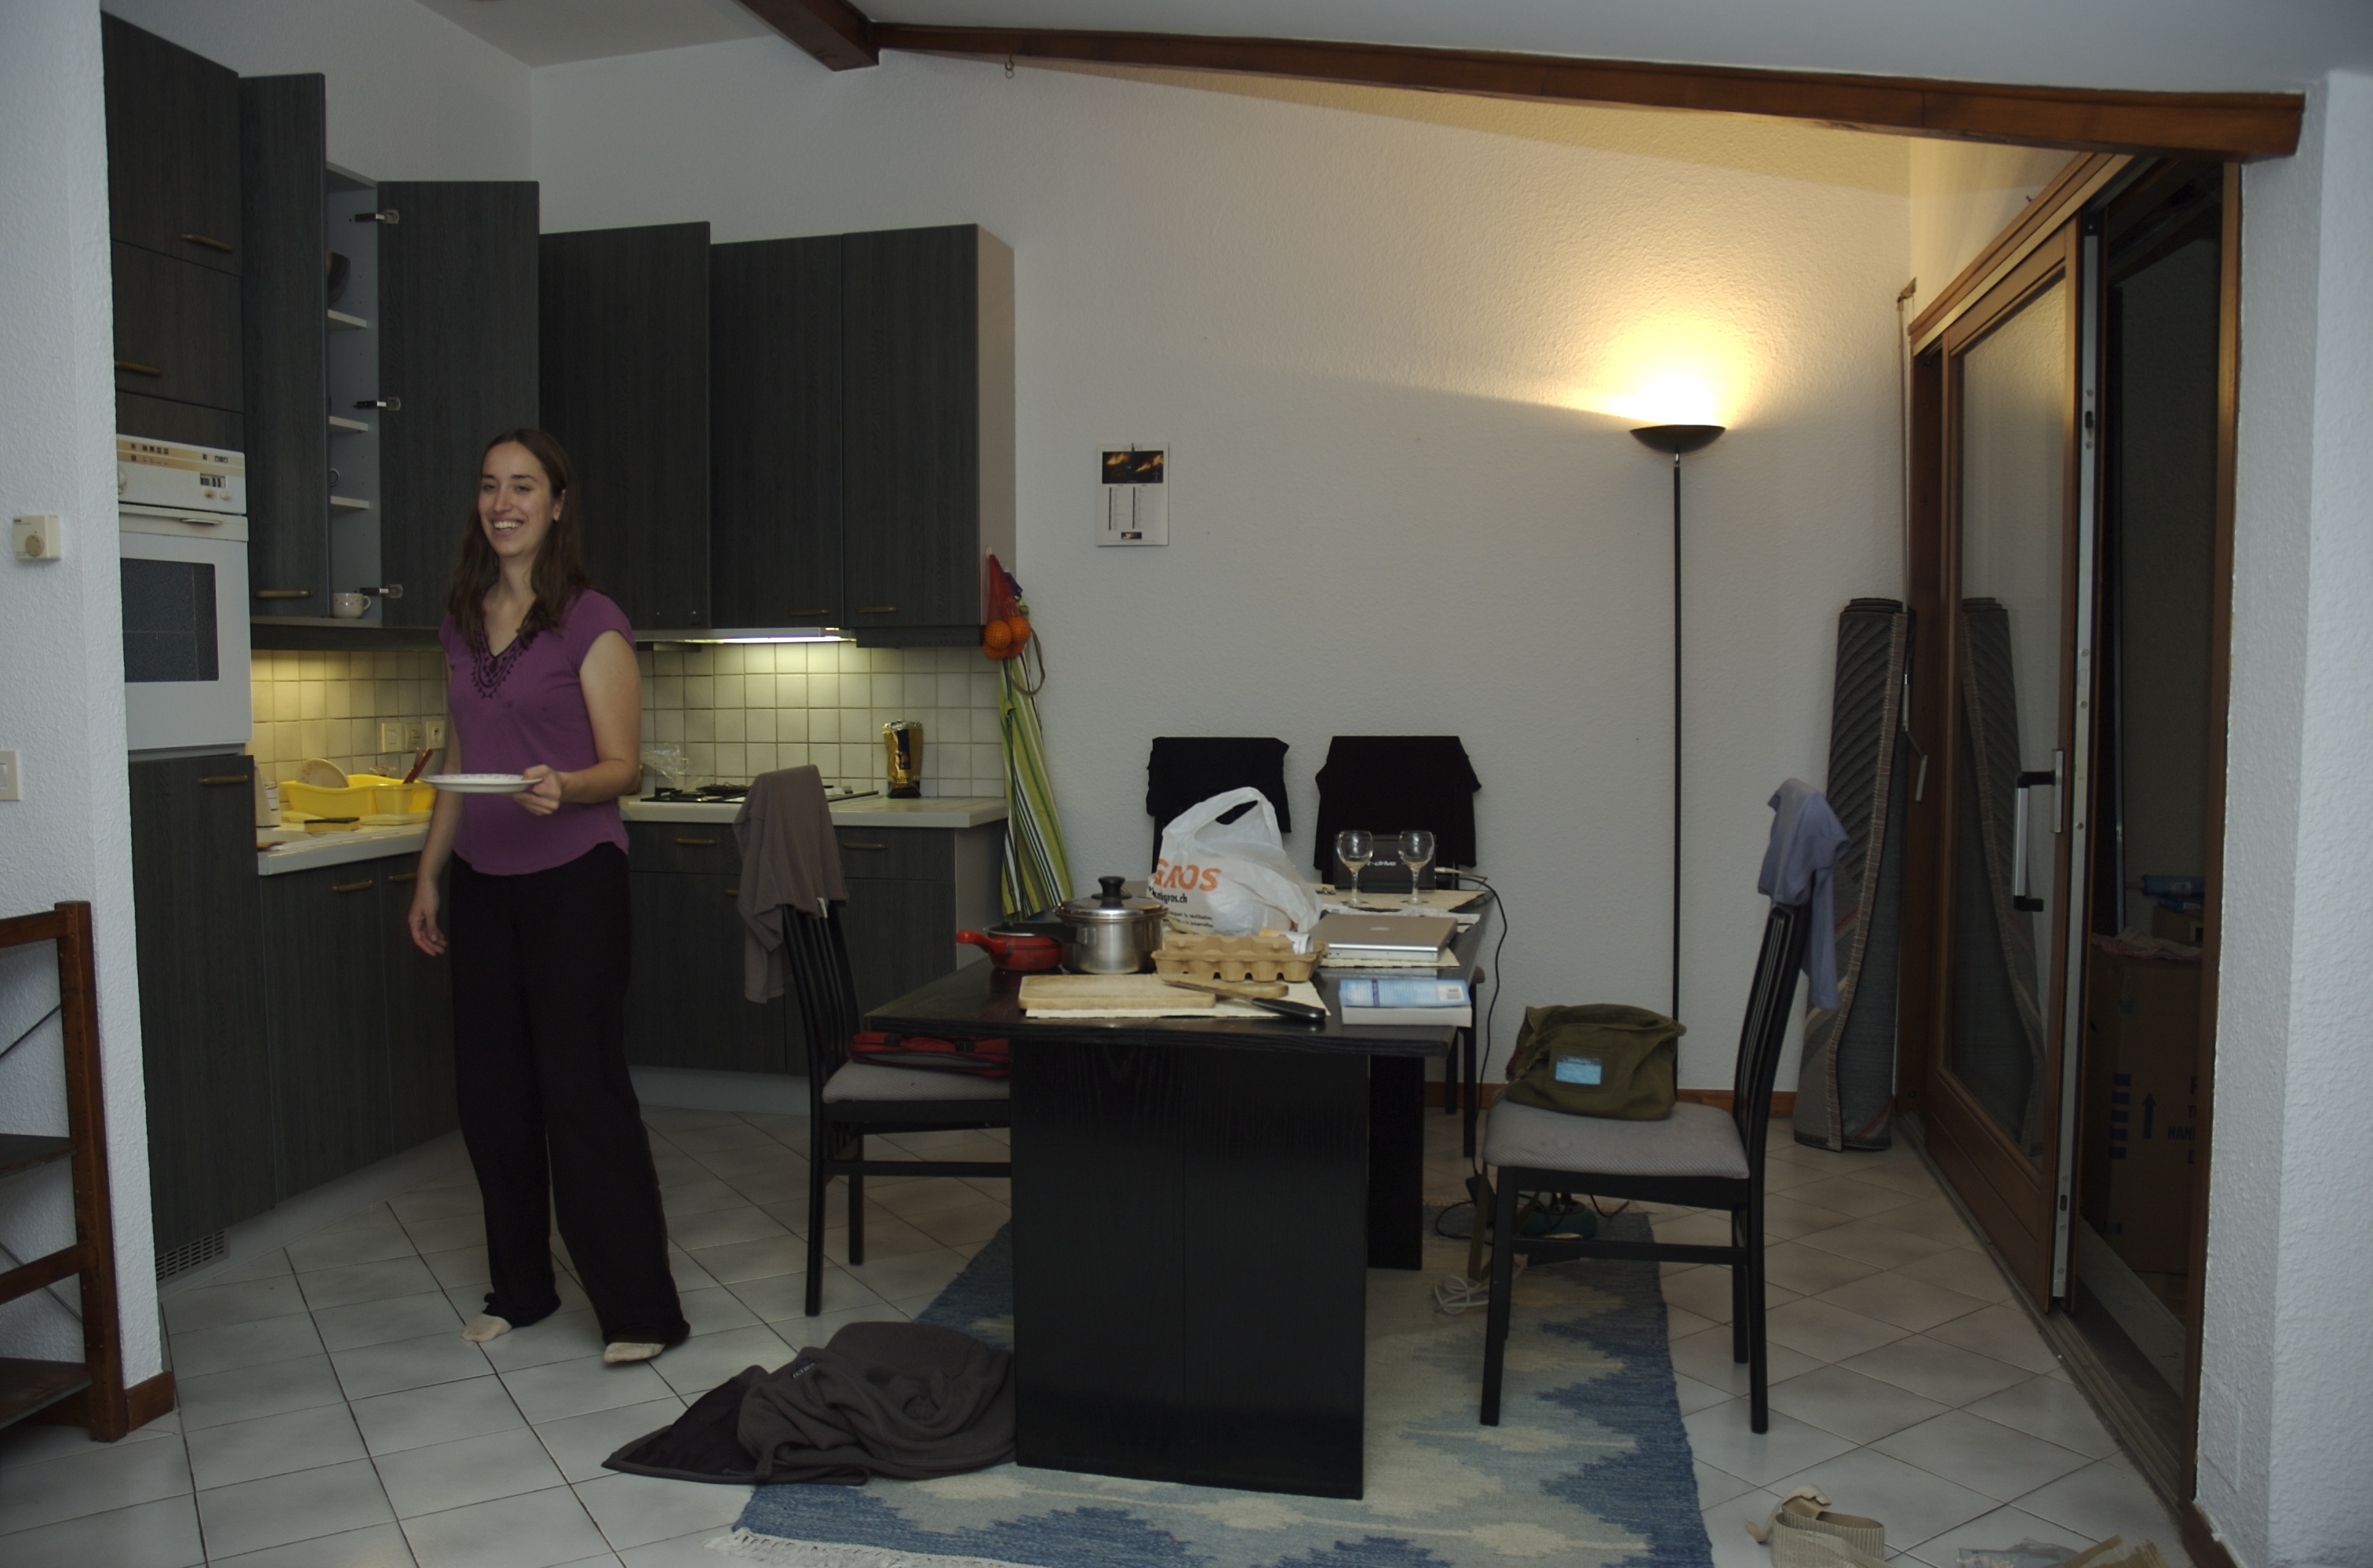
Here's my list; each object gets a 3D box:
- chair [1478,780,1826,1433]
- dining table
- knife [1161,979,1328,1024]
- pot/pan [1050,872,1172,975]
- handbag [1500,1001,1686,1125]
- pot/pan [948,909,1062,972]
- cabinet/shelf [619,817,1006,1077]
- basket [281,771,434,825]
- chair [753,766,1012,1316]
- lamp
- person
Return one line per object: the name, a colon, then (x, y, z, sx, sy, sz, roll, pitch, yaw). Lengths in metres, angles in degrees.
chair: (1.203, 0.774, 4.318, 0.910, 1.477, 0.825, 1, 4, 20)
dining table: (0.162, 1.087, 4.349, 1.353, 1.005, 1.671, -1, -6, 14)
knife: (0.124, 0.463, 3.736, 0.408, 0.036, 0.123, 6, 14, 26)
pot/pan: (-0.186, 0.327, 4.038, 0.225, 0.182, 0.233, -1, 0, 30)
handbag: (1.043, 0.787, 4.334, 0.447, 0.301, 0.241, 4, -9, 21)
pot/pan: (-0.433, 0.370, 4.042, 0.227, 0.081, 0.146, 0, 1, -1)
cabinet/shelf: (-1.336, 0.540, 6.280, 1.615, 1.069, 0.894, -1, -3, 9)
basket: (-2.676, 0.051, 5.410, 0.357, 0.124, 0.424, 0, 2, 3)
chair: (-0.817, 0.707, 4.713, 0.944, 1.603, 0.872, 2, 0, 2)
lamp: (1.726, -0.115, 5.968, 0.359, 2.060, 0.356, 3, 7, 44)
person: (-1.660, 0.291, 4.313, 0.571, 2.316, 0.673, -7, 14, -27)
